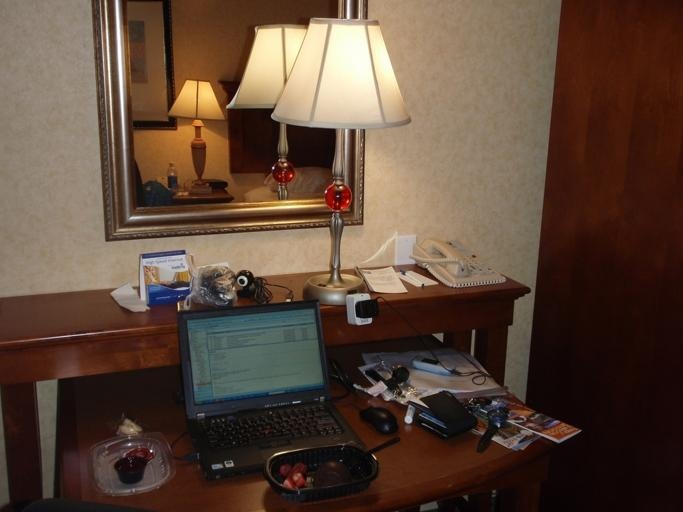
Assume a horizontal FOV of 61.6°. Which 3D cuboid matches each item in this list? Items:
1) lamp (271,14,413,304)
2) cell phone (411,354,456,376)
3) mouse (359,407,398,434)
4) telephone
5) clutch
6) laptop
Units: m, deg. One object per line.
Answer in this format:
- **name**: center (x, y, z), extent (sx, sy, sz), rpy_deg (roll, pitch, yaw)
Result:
- **lamp**: center (0.001, -0.273, 1.825), extent (0.350, 0.915, 0.292), rpy_deg (9, 19, 35)
- **cell phone**: center (0.325, 0.379, 2.007), extent (0.108, 0.025, 0.060), rpy_deg (7, 9, 17)
- **mouse**: center (0.117, 0.492, 1.720), extent (0.098, 0.035, 0.057), rpy_deg (21, 17, 41)
- **telephone**: center (0.420, 0.030, 2.226), extent (0.192, 0.080, 0.260), rpy_deg (-4, 16, -22)
- **clutch**: center (0.291, 0.488, 1.748), extent (0.146, 0.044, 0.170), rpy_deg (26, 10, 32)
- **laptop**: center (-0.202, 0.366, 1.660), extent (0.481, 0.323, 0.425), rpy_deg (-2, 15, -22)
